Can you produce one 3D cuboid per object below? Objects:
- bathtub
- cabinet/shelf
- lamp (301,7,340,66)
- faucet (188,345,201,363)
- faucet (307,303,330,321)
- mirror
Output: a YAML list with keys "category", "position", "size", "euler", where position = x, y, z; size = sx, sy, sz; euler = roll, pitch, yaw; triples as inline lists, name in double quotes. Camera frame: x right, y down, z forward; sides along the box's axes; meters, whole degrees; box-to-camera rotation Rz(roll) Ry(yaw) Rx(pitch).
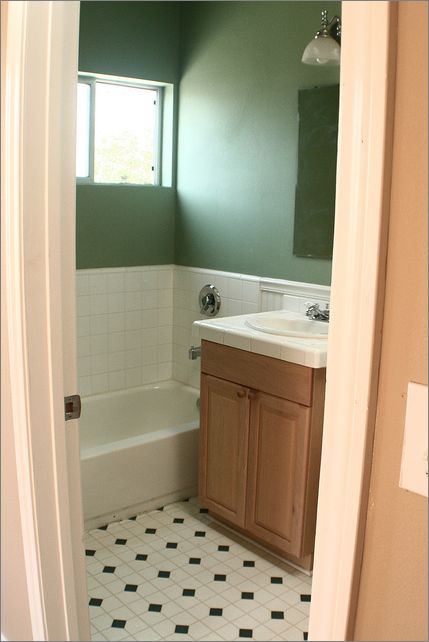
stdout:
- category: "bathtub"
  position: [-0.452, 0.590, 2.758]
  size: [0.514, 0.315, 0.843]
  euler: [-5, 12, -31]
- category: "cabinet/shelf"
  position: [0.284, 0.570, 2.416]
  size: [0.653, 1.002, 0.457]
  euler: [10, 10, 43]
- category: "lamp"
  position: [0.506, -1.306, 2.229]
  size: [0.155, 0.260, 0.174]
  euler: [8, 7, 5]
- category: "faucet"
  position: [-0.105, 0.172, 2.615]
  size: [0.055, 0.068, 0.104]
  euler: [1, 2, 8]
- category: "faucet"
  position: [0.558, -0.042, 2.532]
  size: [0.052, 0.083, 0.180]
  euler: [-1, 6, -31]
- category: "mirror"
  position: [0.541, -0.737, 2.574]
  size: [0.026, 0.863, 0.298]
  euler: [-17, 24, -30]
